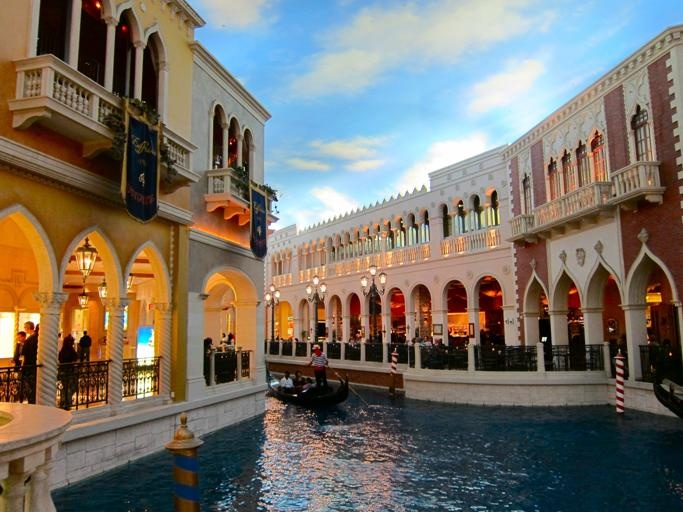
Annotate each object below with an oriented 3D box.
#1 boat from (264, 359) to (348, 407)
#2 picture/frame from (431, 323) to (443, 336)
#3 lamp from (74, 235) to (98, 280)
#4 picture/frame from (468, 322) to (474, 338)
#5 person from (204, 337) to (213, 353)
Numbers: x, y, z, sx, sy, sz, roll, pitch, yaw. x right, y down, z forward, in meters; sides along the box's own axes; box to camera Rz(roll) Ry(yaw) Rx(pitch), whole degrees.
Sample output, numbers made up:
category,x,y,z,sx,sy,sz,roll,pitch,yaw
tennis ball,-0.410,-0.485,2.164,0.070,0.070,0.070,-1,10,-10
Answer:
category,x,y,z,sx,sy,sz,roll,pitch,yaw
boat,-1.383,4.896,19.883,1.113,1.344,4.831,-7,-4,-40
picture/frame,4.401,3.310,24.443,0.083,0.521,0.564,13,-16,-28
lamp,-5.667,0.027,11.949,0.429,0.866,1.333,0,-2,-27
picture/frame,5.708,3.181,23.275,0.194,0.623,0.478,-1,-2,3
person,-3.989,2.700,16.048,0.254,0.353,0.879,2,-31,-13
